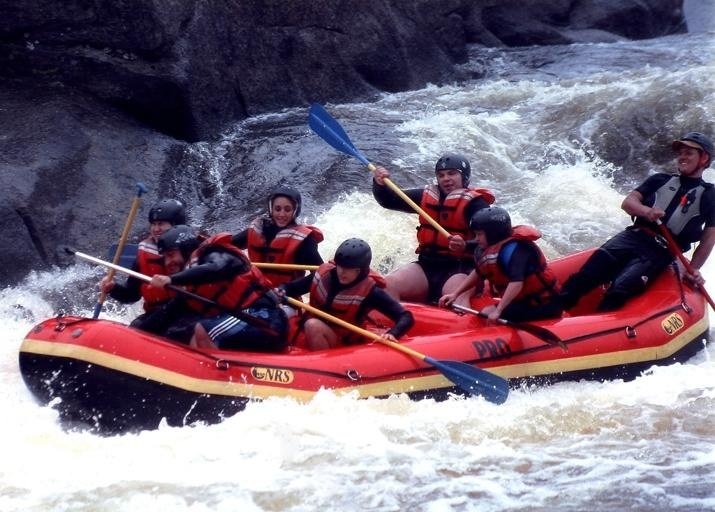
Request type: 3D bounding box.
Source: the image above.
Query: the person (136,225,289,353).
[{"bbox_3d":[-1.420,0.433,7.675,1.468,1.387,1.089,-3,-11,-27],"label":"person"}]

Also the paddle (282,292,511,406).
[{"bbox_3d":[0.345,0.906,7.737,3.711,0.314,0.112,13,32,7],"label":"paddle"}]

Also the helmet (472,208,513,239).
[{"bbox_3d":[1.289,-0.314,8.141,0.473,0.255,0.289,-5,11,-13],"label":"helmet"}]

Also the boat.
[{"bbox_3d":[0.329,0.469,7.651,5.180,0.725,2.085,-4,9,-24],"label":"boat"}]

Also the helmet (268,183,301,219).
[{"bbox_3d":[-0.672,-0.581,8.634,0.373,0.312,0.346,4,4,2],"label":"helmet"}]

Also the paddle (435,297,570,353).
[{"bbox_3d":[1.429,0.692,8.071,1.696,0.159,0.097,16,30,26],"label":"paddle"}]

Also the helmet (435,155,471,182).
[{"bbox_3d":[1.074,-0.972,9.002,0.335,0.311,0.334,-4,13,28],"label":"helmet"}]

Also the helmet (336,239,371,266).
[{"bbox_3d":[-0.047,-0.013,7.627,0.323,0.163,0.308,20,28,25],"label":"helmet"}]
